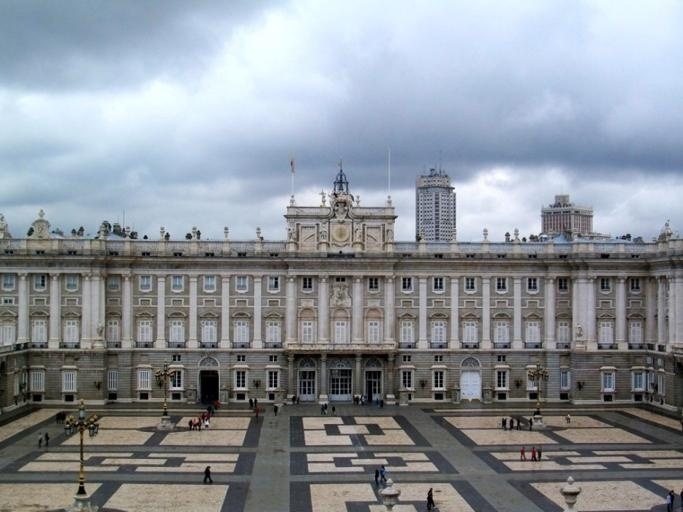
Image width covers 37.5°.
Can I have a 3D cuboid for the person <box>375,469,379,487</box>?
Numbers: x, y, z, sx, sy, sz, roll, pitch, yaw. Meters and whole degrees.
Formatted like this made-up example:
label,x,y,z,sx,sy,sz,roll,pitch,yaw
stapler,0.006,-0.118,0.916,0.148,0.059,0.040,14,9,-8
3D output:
label,x,y,z,sx,sy,sz,roll,pitch,yaw
person,3.579,22.113,100.069,0.415,1.484,1.019,1,9,3
